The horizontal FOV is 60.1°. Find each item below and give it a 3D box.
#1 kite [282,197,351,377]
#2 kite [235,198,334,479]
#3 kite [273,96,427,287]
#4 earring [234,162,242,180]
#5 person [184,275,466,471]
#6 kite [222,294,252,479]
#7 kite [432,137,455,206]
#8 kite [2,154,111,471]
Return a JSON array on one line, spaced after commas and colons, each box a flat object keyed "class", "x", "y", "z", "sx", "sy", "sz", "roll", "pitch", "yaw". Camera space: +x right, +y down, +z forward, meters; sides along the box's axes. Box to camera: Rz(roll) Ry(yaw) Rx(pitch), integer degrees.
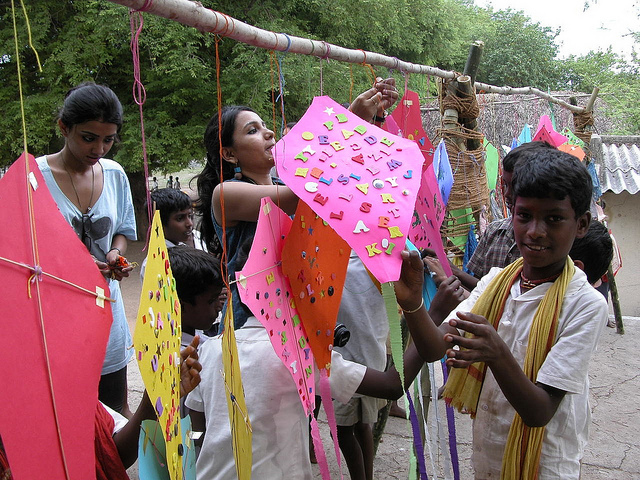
[{"class": "kite", "x": -0.008, "y": 0.146, "z": 1.633, "sx": 0.190, "sy": 0.540, "sz": 0.025, "roll": -23, "pitch": 19, "yaw": -34}, {"class": "kite", "x": -0.105, "y": 0.196, "z": 1.523, "sx": 0.126, "sy": 0.617, "sz": 0.313, "roll": 1, "pitch": 4, "yaw": 21}, {"class": "kite", "x": 0.064, "y": -0.146, "z": 1.604, "sx": 0.380, "sy": 0.578, "sz": 0.162, "roll": -8, "pitch": -32, "yaw": -23}, {"class": "earring", "x": -0.297, "y": -0.247, "z": 1.998, "sx": 0.027, "sy": 0.064, "sz": 0.086, "roll": -1, "pitch": 4, "yaw": -8}, {"class": "person", "x": 0.004, "y": 0.429, "z": 1.854, "sx": 0.548, "sy": 0.875, "sz": 0.395, "roll": -6, "pitch": 48, "yaw": -39}, {"class": "kite", "x": -0.221, "y": 0.392, "z": 1.465, "sx": 0.072, "sy": 0.506, "sz": 0.121, "roll": -1, "pitch": 4, "yaw": -11}, {"class": "kite", "x": 0.620, "y": -0.349, "z": 2.809, "sx": 0.024, "sy": 0.307, "sz": 0.301, "roll": -8, "pitch": -40, "yaw": 21}, {"class": "kite", "x": -0.568, "y": 0.159, "z": 1.213, "sx": 0.204, "sy": 0.683, "sz": 0.239, "roll": -2, "pitch": 4, "yaw": -23}]
